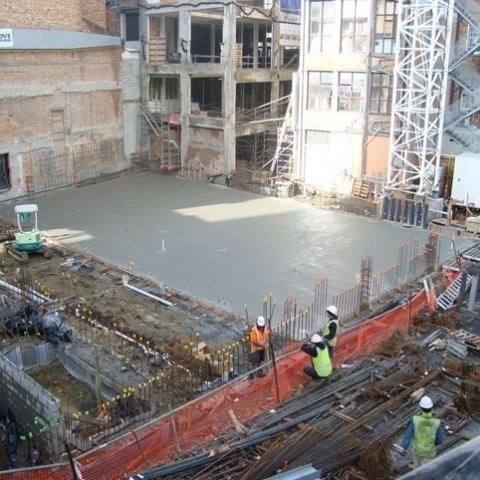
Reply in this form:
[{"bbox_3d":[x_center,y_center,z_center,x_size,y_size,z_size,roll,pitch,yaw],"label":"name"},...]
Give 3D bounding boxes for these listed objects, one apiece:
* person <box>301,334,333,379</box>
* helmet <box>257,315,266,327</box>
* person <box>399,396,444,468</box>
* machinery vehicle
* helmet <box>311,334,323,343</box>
[{"bbox_3d":[1.570,2.320,11.130,0.503,0.818,0.525,-7,15,-35],"label":"person"},{"bbox_3d":[0.445,1.658,11.182,0.152,0.236,0.208,0,10,1],"label":"helmet"},{"bbox_3d":[2.728,3.022,8.340,0.522,1.549,0.420,1,17,10],"label":"person"},{"bbox_3d":[-6.925,-0.542,19.036,1.451,2.354,2.198,-16,27,-42],"label":"machinery vehicle"},{"bbox_3d":[1.564,2.002,11.214,0.290,0.153,0.454,1,9,6],"label":"helmet"}]
